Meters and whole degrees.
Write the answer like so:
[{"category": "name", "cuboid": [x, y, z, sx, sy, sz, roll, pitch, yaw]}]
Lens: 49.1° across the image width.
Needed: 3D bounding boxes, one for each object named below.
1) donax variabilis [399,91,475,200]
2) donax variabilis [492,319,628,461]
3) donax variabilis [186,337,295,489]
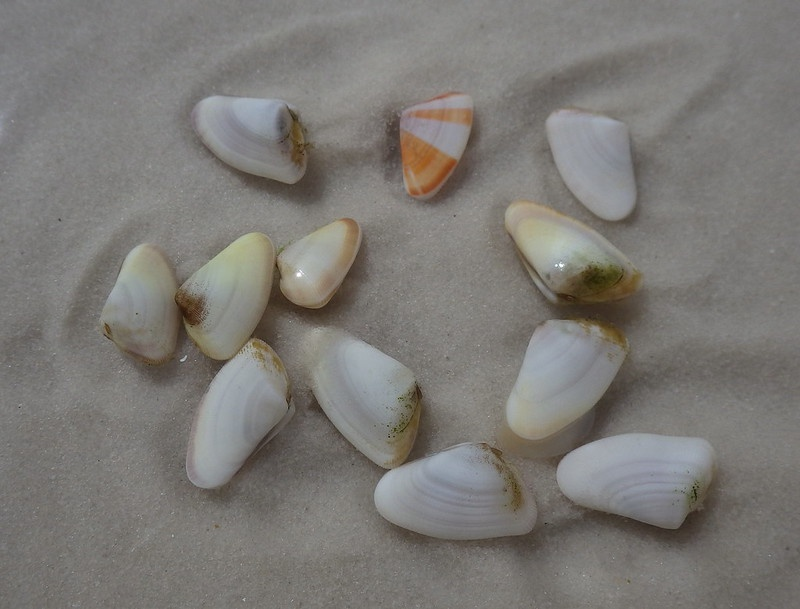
[{"category": "donax variabilis", "cuboid": [0.085, -0.347, 1.930, 0.176, 0.060, 0.193, -13, 75, 4]}, {"category": "donax variabilis", "cuboid": [0.343, 0.189, 1.897, 0.228, 0.099, 0.372, 11, 42, 31]}, {"category": "donax variabilis", "cuboid": [-0.361, 0.243, 1.921, 0.195, 0.117, 0.371, 20, 53, 9]}]
